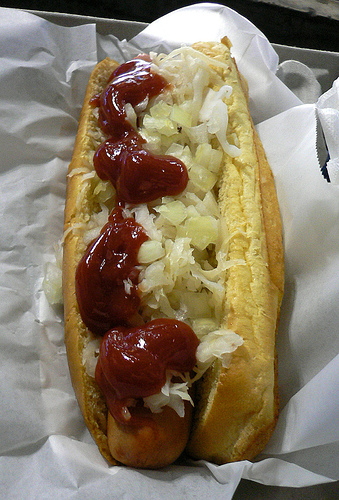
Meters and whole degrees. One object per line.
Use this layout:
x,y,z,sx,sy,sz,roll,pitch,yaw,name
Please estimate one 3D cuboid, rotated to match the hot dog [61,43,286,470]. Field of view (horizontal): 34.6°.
0.001,-0.019,1.594,0.651,0.392,1.209,-1,67,-2,hot dog
